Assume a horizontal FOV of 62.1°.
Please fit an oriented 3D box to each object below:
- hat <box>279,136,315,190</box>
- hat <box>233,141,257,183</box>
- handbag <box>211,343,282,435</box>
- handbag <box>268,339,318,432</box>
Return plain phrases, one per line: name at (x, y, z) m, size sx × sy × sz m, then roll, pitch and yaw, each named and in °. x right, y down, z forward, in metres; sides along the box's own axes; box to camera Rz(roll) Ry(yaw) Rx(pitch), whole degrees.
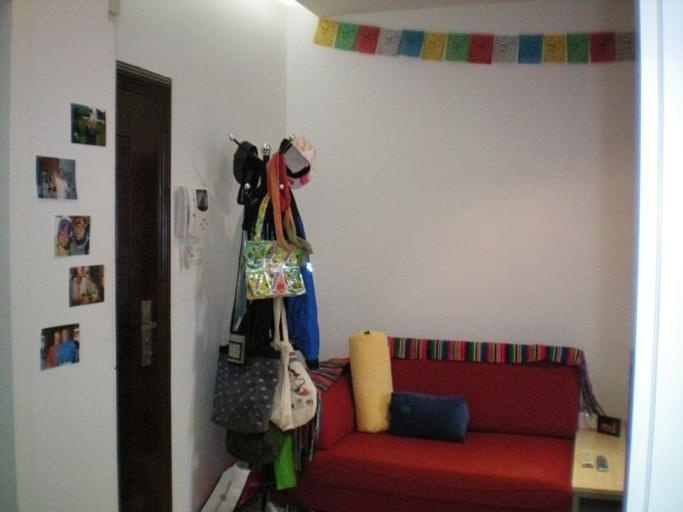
hat at (-0.204, -0.433, 2.619) m, size 0.130 × 0.231 × 0.186 m, roll 1°, pitch 0°, yaw 10°
hat at (-0.447, -0.430, 2.630) m, size 0.105 × 0.189 × 0.087 m, roll 1°, pitch 0°, yaw -13°
handbag at (-0.429, 0.559, 2.514) m, size 0.273 × 0.388 × 0.127 m, roll 8°, pitch 15°, yaw -10°
handbag at (-0.230, 0.585, 2.494) m, size 0.160 × 0.368 × 0.246 m, roll -7°, pitch -13°, yaw 38°
